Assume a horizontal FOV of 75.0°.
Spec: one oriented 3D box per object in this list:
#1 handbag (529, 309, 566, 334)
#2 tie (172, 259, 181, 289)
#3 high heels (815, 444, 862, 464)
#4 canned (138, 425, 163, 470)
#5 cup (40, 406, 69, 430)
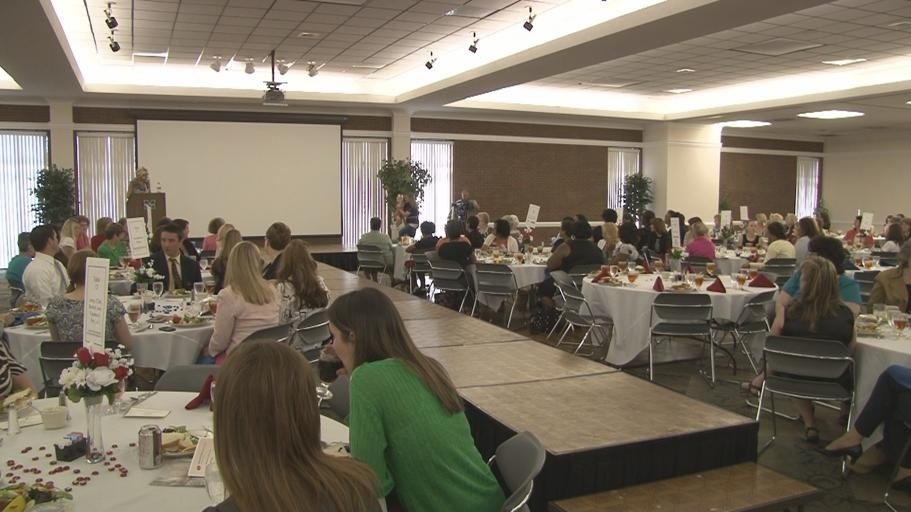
[{"bbox_3d":[1.398,1.043,9.379,0.373,0.365,0.442,0,-6,13],"label":"handbag"},{"bbox_3d":[-3.581,0.221,7.637,0.083,0.305,0.224,-13,7,-21],"label":"tie"},{"bbox_3d":[3.724,1.920,5.778,0.367,0.147,0.122,3,1,23],"label":"high heels"},{"bbox_3d":[-2.017,1.283,3.953,0.158,0.248,0.153,0,-5,-28],"label":"canned"},{"bbox_3d":[-2.835,1.147,4.214,0.166,0.112,0.160,0,-4,0],"label":"cup"}]
